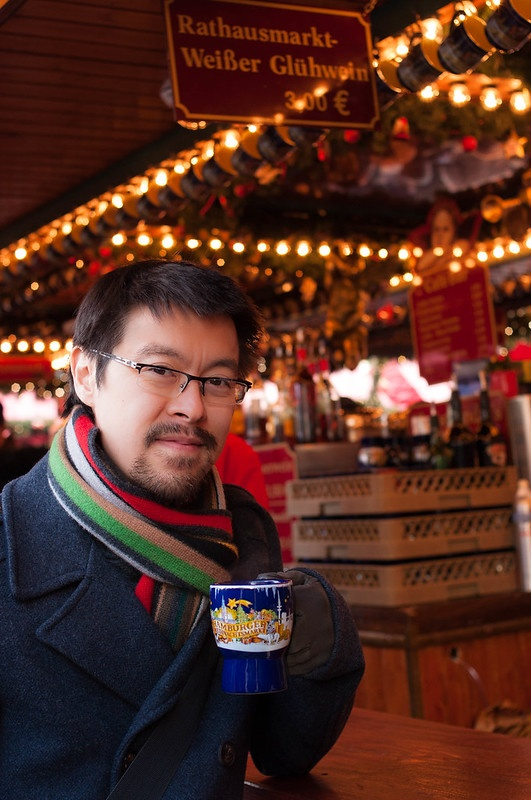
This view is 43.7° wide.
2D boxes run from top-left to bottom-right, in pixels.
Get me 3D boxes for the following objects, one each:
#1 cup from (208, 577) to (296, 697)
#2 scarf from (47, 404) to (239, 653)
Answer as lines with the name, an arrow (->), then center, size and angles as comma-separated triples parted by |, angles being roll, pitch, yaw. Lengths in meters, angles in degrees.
cup -> -0.032, 0.281, 0.839 | 0.133, 0.144, 0.135 | -1, -7, 0
scarf -> -0.242, 0.193, 1.079 | 0.144, 0.357, 0.271 | -44, -45, 20
